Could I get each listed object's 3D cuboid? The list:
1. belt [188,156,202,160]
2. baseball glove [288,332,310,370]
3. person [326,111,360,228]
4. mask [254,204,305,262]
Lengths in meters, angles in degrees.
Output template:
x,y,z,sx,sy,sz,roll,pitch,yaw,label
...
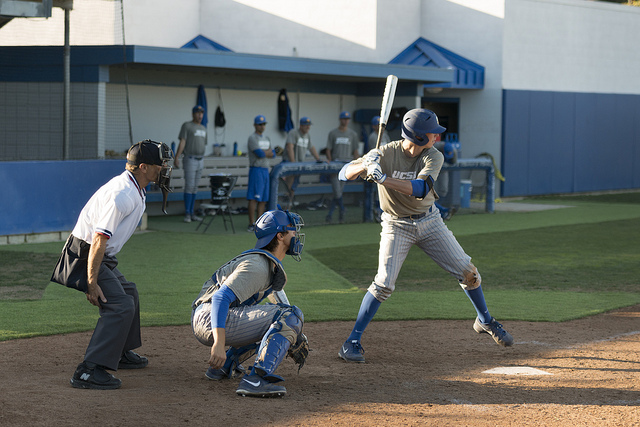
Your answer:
x,y,z,sx,sy,sz,roll,pitch,yaw,label
-2.694,-1.195,23.507,0.317,0.085,0.027,-6,10,-35,belt
-0.294,1.913,15.025,0.207,0.324,0.460,5,48,35,baseball glove
0.459,-1.017,24.520,0.828,2.500,0.827,3,13,-1,person
-0.618,0.299,15.104,0.753,0.628,0.587,4,-5,-44,mask
